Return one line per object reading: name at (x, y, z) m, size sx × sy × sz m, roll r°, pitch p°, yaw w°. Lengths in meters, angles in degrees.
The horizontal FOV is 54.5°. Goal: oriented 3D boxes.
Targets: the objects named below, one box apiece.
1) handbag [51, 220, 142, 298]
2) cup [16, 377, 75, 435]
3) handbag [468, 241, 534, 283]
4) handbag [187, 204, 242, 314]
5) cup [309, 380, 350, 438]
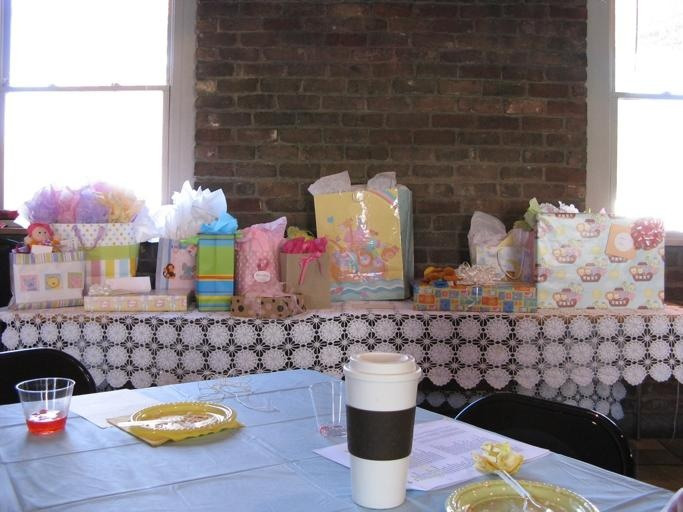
handbag at (-1.119, 0.005, 3.138) m, size 0.405 × 0.295 × 0.230 m, roll 0°, pitch -5°, yaw -6°
cup at (-0.743, 0.377, 1.672) m, size 0.139 × 0.104 × 0.131 m, roll 0°, pitch 4°, yaw 0°
handbag at (0.780, 0.023, 3.243) m, size 0.294 × 0.202 × 0.123 m, roll -2°, pitch 19°, yaw -1°
handbag at (-0.577, 0.029, 3.280) m, size 0.333 × 0.601 × 0.468 m, roll 0°, pitch -1°, yaw -10°
cup at (-0.030, 0.405, 1.734) m, size 0.111 × 0.110 × 0.106 m, roll 0°, pitch -1°, yaw 0°
